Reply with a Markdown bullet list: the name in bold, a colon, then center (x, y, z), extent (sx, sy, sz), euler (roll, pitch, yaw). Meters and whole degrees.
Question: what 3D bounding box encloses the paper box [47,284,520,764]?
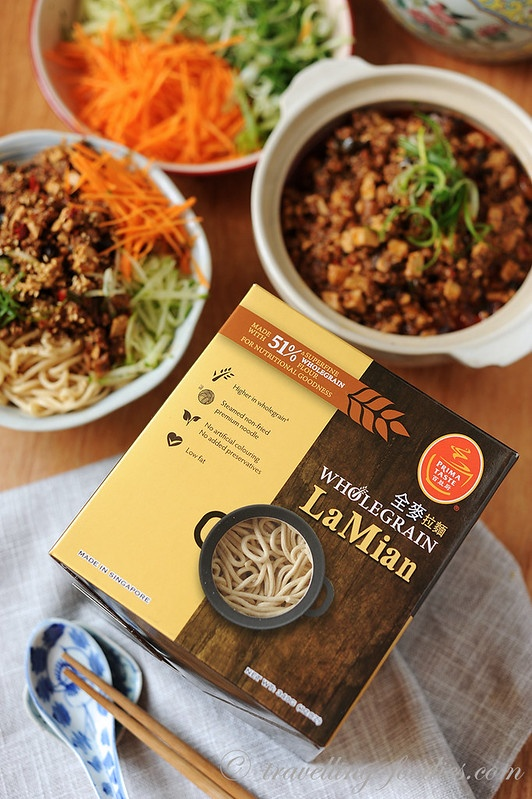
- **paper box**: center (0.021, 0.119, 0.973), extent (0.470, 0.358, 0.484), euler (34, 82, 4)
